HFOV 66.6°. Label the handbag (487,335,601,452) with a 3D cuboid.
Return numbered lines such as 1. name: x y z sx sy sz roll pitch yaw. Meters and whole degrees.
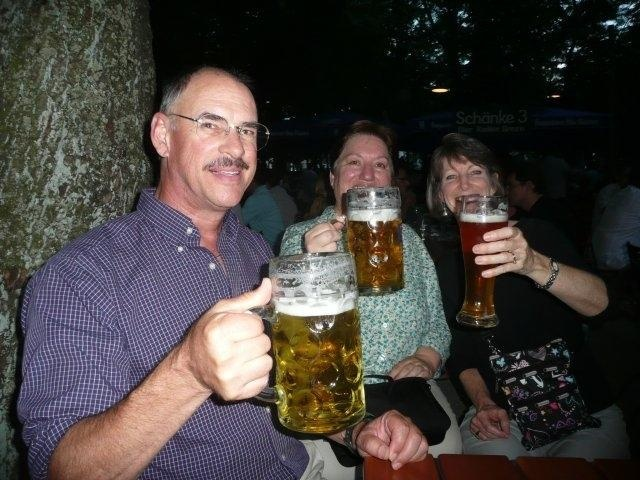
1. handbag: 1.409 0.936 3.175 0.684 0.650 0.259 -17 -10 4
